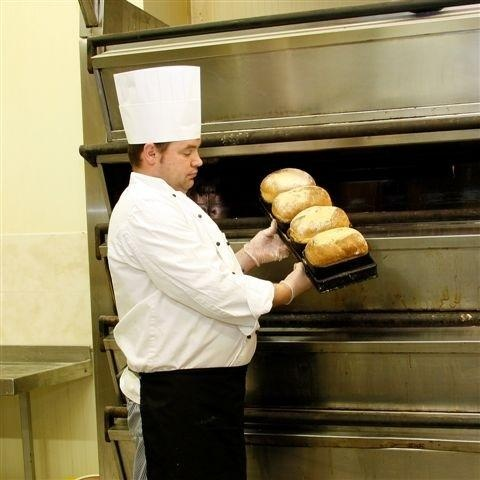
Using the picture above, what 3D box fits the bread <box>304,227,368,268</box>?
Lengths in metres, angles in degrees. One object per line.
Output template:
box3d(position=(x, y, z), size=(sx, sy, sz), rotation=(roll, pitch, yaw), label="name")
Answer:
box3d(position=(0.286, 0.009, 1.866), size=(0.144, 0.054, 0.110), rotation=(-16, 32, -3), label="bread")

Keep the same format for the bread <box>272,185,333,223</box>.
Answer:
box3d(position=(0.202, -0.133, 2.098), size=(0.156, 0.085, 0.115), rotation=(-19, 9, -32), label="bread")

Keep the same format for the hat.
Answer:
box3d(position=(-0.251, -0.427, 2.000), size=(0.252, 0.225, 0.232), rotation=(-2, 12, 2), label="hat")

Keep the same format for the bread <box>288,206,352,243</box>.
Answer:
box3d(position=(0.249, -0.067, 1.967), size=(0.141, 0.054, 0.120), rotation=(-20, 24, -9), label="bread")
